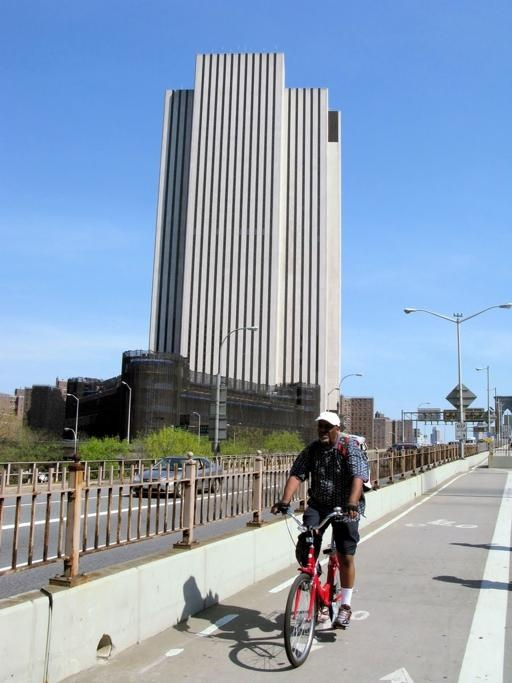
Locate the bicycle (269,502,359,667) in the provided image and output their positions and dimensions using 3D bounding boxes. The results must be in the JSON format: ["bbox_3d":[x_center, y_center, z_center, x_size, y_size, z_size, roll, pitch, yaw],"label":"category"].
[{"bbox_3d":[0.454,1.775,4.678,0.447,1.115,1.267,4,-7,14],"label":"bicycle"}]

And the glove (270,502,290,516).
[{"bbox_3d":[0.189,1.283,4.813,0.063,0.091,0.216,0,-5,21],"label":"glove"}]

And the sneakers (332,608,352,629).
[{"bbox_3d":[0.693,2.239,5.085,0.078,0.128,0.256,-6,-35,16],"label":"sneakers"}]
